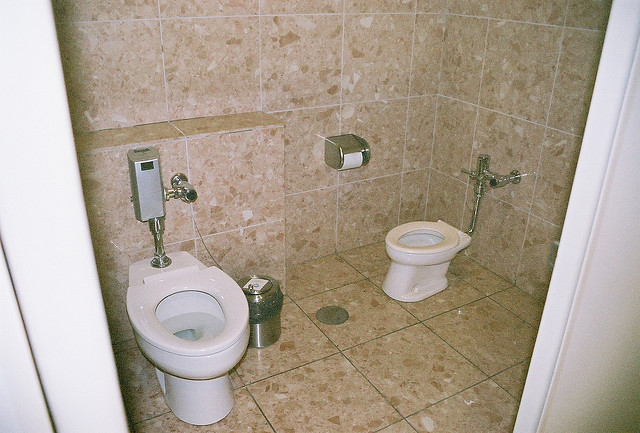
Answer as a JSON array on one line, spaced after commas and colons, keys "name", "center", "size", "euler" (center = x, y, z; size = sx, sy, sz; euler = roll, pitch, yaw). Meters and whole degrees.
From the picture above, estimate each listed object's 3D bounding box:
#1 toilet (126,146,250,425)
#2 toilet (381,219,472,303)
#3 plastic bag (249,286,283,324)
[{"name": "toilet", "center": [-0.559, 0.309, 2.187], "size": [0.451, 1.057, 0.750], "euler": [-16, 32, -21]}, {"name": "toilet", "center": [0.630, 0.265, 3.148], "size": [0.535, 0.339, 0.366], "euler": [-14, 26, -30]}, {"name": "plastic bag", "center": [-0.262, 0.452, 2.661], "size": [0.148, 0.138, 0.144], "euler": [-11, 39, -13]}]
